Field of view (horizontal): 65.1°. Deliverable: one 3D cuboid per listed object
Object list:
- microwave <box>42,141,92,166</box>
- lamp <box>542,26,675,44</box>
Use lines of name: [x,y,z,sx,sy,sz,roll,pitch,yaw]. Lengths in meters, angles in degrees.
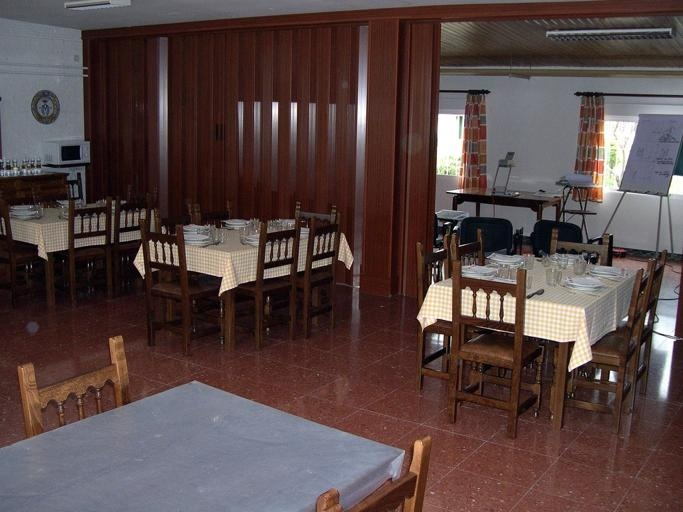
microwave: [-4.516,-1.690,8.848,0.703,0.387,0.339,-6,14,-31]
lamp: [3.420,-2.843,6.801,1.515,0.140,0.390,5,13,15]
